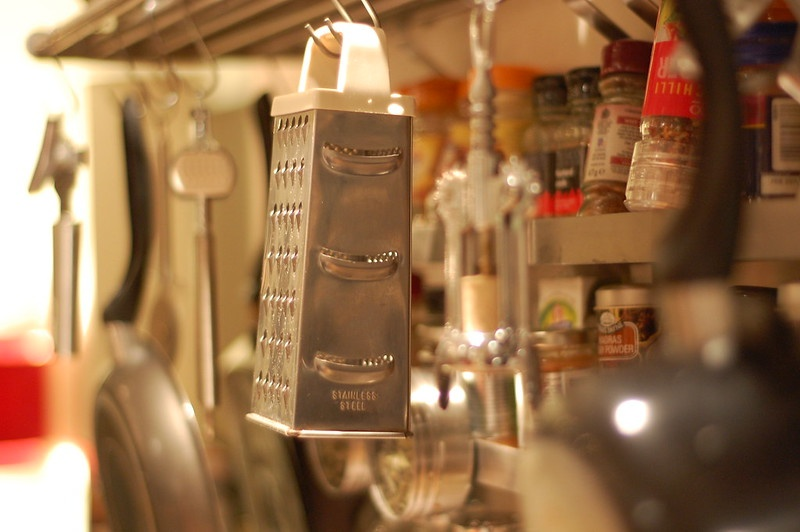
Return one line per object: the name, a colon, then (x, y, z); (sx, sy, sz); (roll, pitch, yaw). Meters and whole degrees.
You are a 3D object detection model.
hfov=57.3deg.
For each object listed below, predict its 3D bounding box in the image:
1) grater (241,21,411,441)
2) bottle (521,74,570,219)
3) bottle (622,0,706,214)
grater: (-0.064, -0.036, 0.693); (0.158, 0.382, 0.102); (2, 6, 1)
bottle: (0.205, -0.159, 1.028); (0.063, 0.177, 0.063); (-2, 16, 1)
bottle: (0.278, -0.169, 0.757); (0.068, 0.225, 0.086); (5, 6, 29)
